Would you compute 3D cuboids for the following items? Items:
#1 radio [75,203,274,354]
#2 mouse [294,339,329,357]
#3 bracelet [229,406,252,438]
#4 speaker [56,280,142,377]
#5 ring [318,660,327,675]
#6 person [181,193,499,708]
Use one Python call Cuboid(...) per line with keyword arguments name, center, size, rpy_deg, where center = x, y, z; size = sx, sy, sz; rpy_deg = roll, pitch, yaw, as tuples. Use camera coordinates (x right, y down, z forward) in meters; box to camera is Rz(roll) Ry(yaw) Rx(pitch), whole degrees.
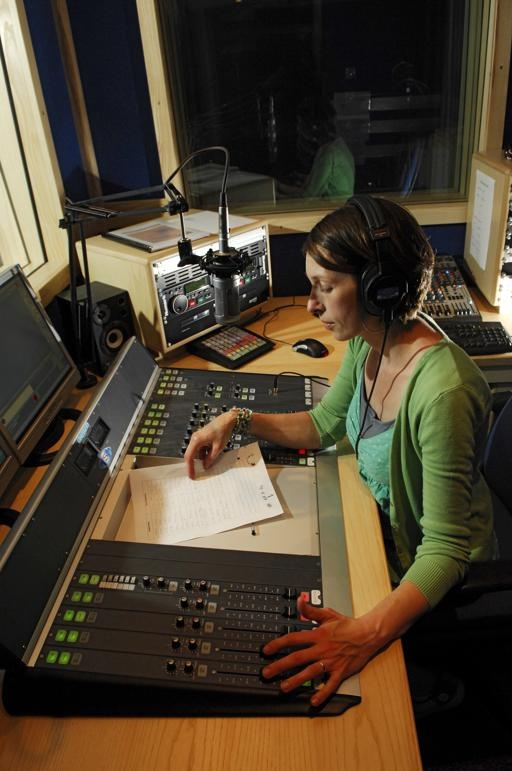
Cuboid(name="radio", center=(-0.250, -0.397, 1.854), size=(0.384, 0.362, 0.549), rpy_deg=(22, 40, 34))
Cuboid(name="mouse", center=(0.188, -0.129, 1.669), size=(0.055, 0.033, 0.097), rpy_deg=(-23, 35, -38))
Cuboid(name="bracelet", center=(-0.033, 0.083, 1.185), size=(0.042, 0.033, 0.056), rpy_deg=(-3, 33, 0))
Cuboid(name="speaker", center=(-0.496, -0.198, 1.620), size=(0.193, 0.236, 0.190), rpy_deg=(-20, 40, -28))
Cuboid(name="ring", center=(0.090, 0.385, 0.705), size=(0.013, 0.020, 0.017), rpy_deg=(-4, 3, 3))
Cuboid(name="person", center=(0.177, 0.207, 1.029), size=(0.586, 1.064, 0.645), rpy_deg=(-9, 20, -6))
